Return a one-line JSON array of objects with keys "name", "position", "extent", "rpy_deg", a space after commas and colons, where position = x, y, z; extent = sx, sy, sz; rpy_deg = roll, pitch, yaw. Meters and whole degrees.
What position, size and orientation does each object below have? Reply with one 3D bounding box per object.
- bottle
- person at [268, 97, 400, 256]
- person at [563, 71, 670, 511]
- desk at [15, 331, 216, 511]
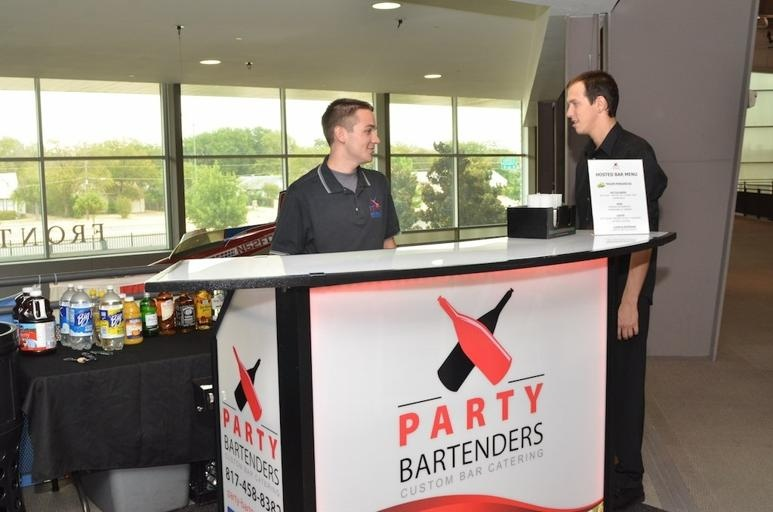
[{"name": "bottle", "position": [-1.556, 0.355, 3.702], "extent": [1.180, 0.490, 0.249], "rpy_deg": [-4, 7, -26]}, {"name": "person", "position": [-0.326, -0.467, 3.649], "extent": [0.758, 0.892, 0.260], "rpy_deg": [-4, 7, -11]}, {"name": "person", "position": [1.290, 0.213, 3.428], "extent": [0.519, 2.484, 0.683], "rpy_deg": [1, 8, 25]}, {"name": "desk", "position": [-1.457, 0.849, 3.243], "extent": [0.905, 0.470, 0.912], "rpy_deg": [0, -1, -31]}]
